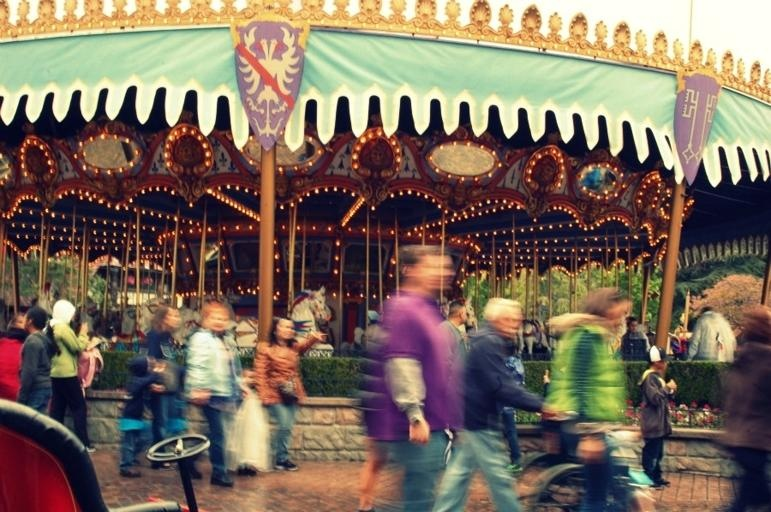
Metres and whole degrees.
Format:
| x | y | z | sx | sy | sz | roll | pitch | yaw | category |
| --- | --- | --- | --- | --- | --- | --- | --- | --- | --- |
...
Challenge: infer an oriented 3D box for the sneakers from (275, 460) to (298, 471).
| x | y | z | sx | sy | sz | roll | pitch | yaw | category |
| --- | --- | --- | --- | --- | --- | --- | --- | --- | --- |
| -1.727 | 3.613 | 16.234 | 0.351 | 0.184 | 0.170 | 1 | -4 | -4 | sneakers |

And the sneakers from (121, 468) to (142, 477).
| x | y | z | sx | sy | sz | roll | pitch | yaw | category |
| --- | --- | --- | --- | --- | --- | --- | --- | --- | --- |
| -4.208 | 3.550 | 15.403 | 0.274 | 0.144 | 0.138 | -1 | 0 | -1 | sneakers |
